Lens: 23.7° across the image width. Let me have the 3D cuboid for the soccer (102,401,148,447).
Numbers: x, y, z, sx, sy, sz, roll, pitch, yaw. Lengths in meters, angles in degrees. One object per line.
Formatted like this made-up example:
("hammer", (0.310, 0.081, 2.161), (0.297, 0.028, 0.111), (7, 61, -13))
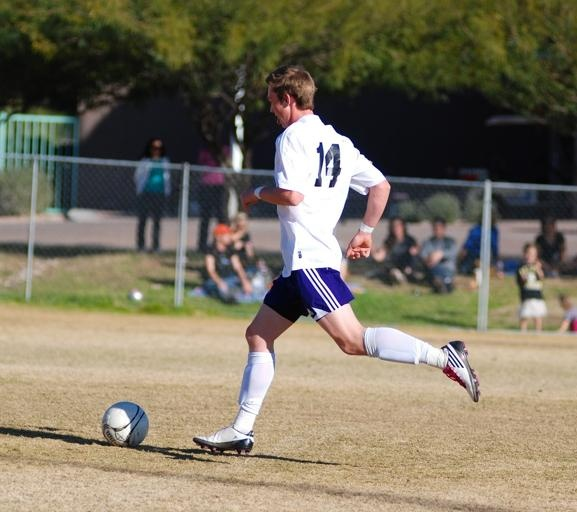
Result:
("soccer", (-1.556, 1.588, 13.083), (0.414, 0.422, 0.422), (10, 45, -6))

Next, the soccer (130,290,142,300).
("soccer", (-2.012, 0.513, 18.114), (0.121, 0.138, 0.069), (-13, -9, -34))

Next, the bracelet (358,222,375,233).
("bracelet", (0.723, -0.255, 12.932), (0.096, 0.085, 0.091), (17, -4, 34))

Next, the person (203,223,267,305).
("person", (-0.709, 0.141, 19.302), (1.033, 1.267, 0.658), (3, 4, 43))

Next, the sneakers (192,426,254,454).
("sneakers", (-0.590, 1.700, 12.707), (0.544, 0.325, 0.244), (5, -23, 6))

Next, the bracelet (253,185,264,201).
("bracelet", (-0.285, -0.573, 12.578), (0.091, 0.081, 0.100), (4, 7, 27))
